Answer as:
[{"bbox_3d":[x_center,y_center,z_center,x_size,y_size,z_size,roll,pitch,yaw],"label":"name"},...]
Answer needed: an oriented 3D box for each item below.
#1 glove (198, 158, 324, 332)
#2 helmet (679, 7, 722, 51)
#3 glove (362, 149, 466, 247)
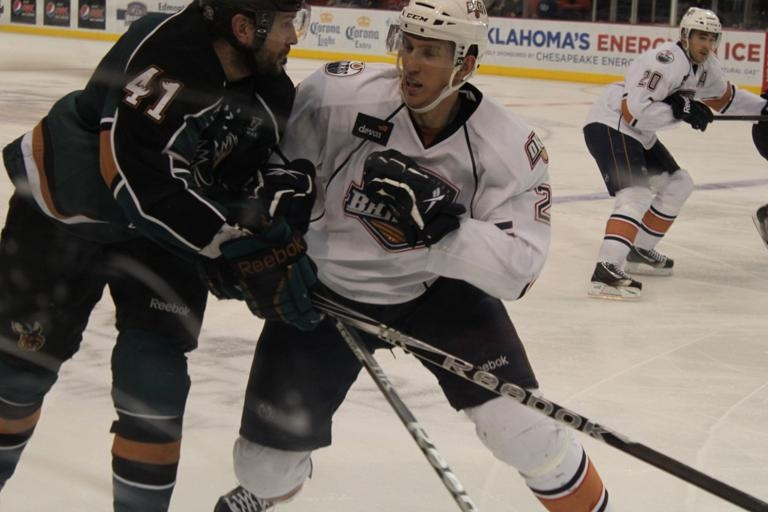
[{"bbox_3d":[-0.352,-0.033,2.086,0.495,0.477,0.270,0,12,-13],"label":"glove"},{"bbox_3d":[2.127,-1.525,4.737,0.254,0.311,0.329,-1,7,-6],"label":"helmet"},{"bbox_3d":[0.084,-0.183,2.178,0.325,0.265,0.148,33,9,0],"label":"glove"}]
